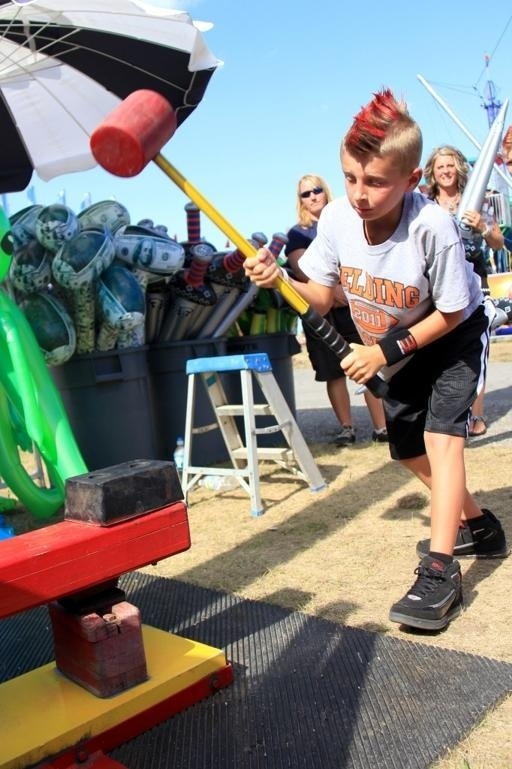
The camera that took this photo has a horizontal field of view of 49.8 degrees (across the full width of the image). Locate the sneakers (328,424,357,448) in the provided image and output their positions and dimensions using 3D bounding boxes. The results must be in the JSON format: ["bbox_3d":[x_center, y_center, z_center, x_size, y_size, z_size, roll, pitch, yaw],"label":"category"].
[{"bbox_3d":[0.747,0.454,4.889,0.130,0.168,0.251,-1,2,-44],"label":"sneakers"}]

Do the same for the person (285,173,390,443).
[{"bbox_3d":[0.528,-0.572,4.572,0.761,2.292,0.883,0,5,43],"label":"person"}]

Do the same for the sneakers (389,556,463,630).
[{"bbox_3d":[0.568,0.684,1.875,0.153,0.177,0.331,-2,-1,36],"label":"sneakers"}]

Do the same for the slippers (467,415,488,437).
[{"bbox_3d":[1.838,0.345,4.645,0.213,0.164,0.570,-4,-2,15],"label":"slippers"}]

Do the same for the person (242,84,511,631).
[{"bbox_3d":[0.477,0.035,2.082,0.789,1.780,0.735,-6,5,-36],"label":"person"}]

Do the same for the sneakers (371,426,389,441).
[{"bbox_3d":[1.041,0.430,4.694,0.098,0.106,0.258,-2,-19,2],"label":"sneakers"}]
